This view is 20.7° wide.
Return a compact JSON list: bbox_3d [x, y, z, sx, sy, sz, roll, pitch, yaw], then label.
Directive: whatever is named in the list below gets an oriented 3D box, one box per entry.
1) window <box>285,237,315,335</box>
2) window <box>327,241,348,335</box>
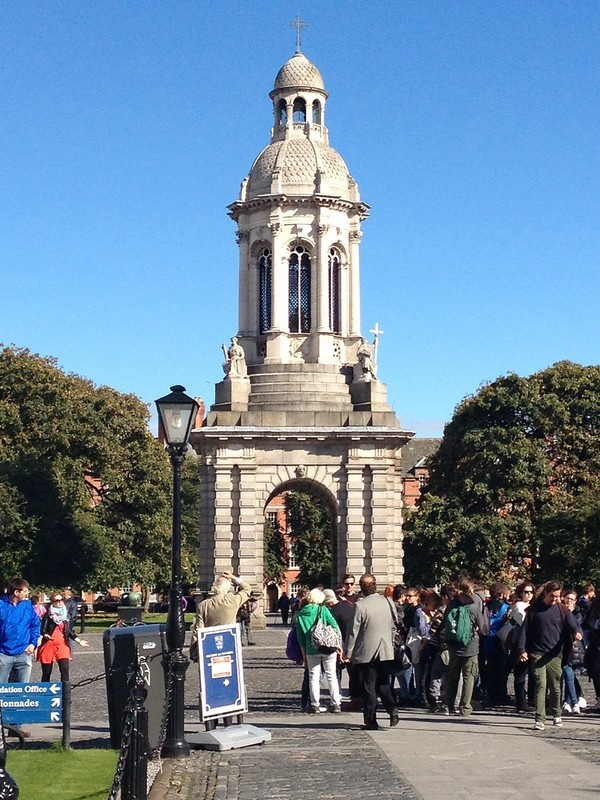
[{"bbox_3d":[-0.033,-3.560,50.969,0.801,3.478,0.126,-1,-24,2],"label":"window"},{"bbox_3d":[1.035,-3.383,51.543,0.605,3.125,0.156,5,11,29],"label":"window"}]
